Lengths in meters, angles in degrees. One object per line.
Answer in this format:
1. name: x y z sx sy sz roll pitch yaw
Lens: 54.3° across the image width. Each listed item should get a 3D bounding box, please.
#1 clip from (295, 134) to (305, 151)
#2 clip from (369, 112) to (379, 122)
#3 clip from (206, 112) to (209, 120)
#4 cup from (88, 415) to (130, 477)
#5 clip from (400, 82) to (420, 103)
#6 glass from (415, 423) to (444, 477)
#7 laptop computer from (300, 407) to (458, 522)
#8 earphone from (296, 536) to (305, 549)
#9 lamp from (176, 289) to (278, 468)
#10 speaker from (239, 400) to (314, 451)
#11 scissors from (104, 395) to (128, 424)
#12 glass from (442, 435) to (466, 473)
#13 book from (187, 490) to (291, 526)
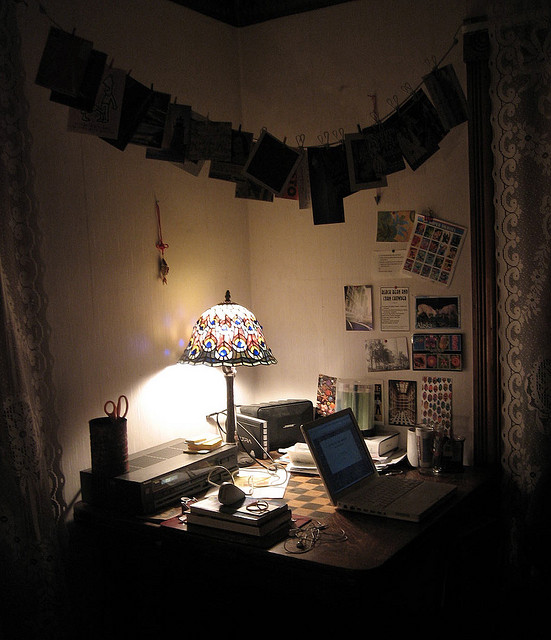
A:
1. clip: 0.096 -0.707 2.119 0.035 0.053 0.058 -2 10 -5
2. clip: 0.359 -0.748 1.970 0.014 0.025 0.043 -8 12 -39
3. clip: -0.266 -0.790 2.080 0.009 0.024 0.025 0 10 9
4. cup: -0.472 0.351 1.516 0.107 0.165 0.171 -5 10 -22
5. clip: 0.455 -0.769 1.821 0.012 0.130 0.036 11 -47 -38
6. glass: 0.518 0.425 1.818 0.076 0.153 0.125 -6 9 -22
7. laptop computer: 0.260 0.334 1.486 0.289 0.233 0.282 -7 1 37
8. earphone: 0.056 0.508 1.233 0.011 0.008 0.020 31 32 -16
9. lamp: -0.185 0.214 1.912 0.324 0.620 0.266 4 10 30
10. speaker: 0.011 0.416 2.107 0.238 0.203 0.144 -3 -5 -32
11. scissors: -0.477 0.262 1.593 0.073 0.104 0.010 -11 -26 29
12. glass: 0.574 0.432 1.737 0.061 0.119 0.099 1 1 36
13. book: -0.080 0.458 1.325 0.107 0.028 0.114 0 1 34
